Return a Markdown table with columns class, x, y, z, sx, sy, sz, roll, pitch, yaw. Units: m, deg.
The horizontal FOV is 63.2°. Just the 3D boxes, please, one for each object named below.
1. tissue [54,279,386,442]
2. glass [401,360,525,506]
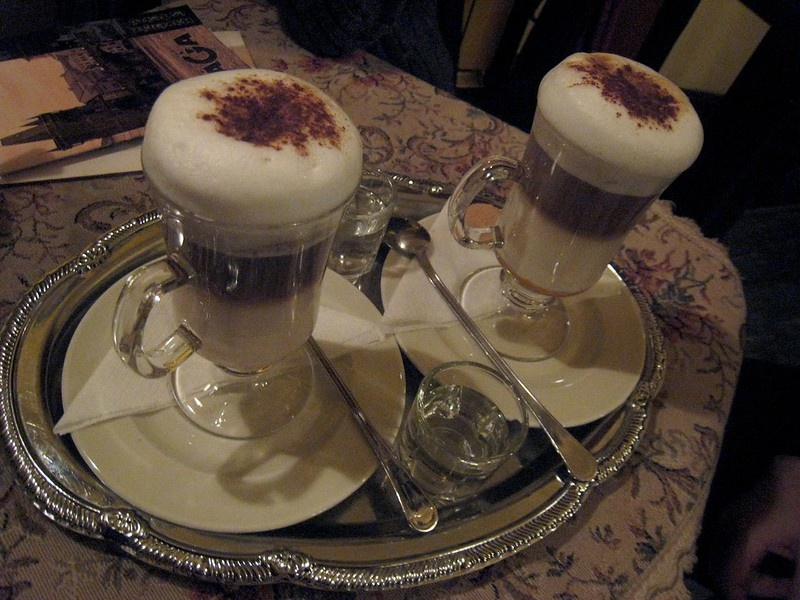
| class | x | y | z | sx | sy | sz | roll | pitch | yaw |
| --- | --- | --- | --- | --- | --- | --- | --- | --- | --- |
| tissue | -0.269 | 0.093 | 0.918 | 0.376 | 0.014 | 0.127 | -25 | 56 | -38 |
| glass | 0.083 | 0.185 | 1.014 | 0.140 | 0.154 | 0.229 | 4 | 58 | -12 |
